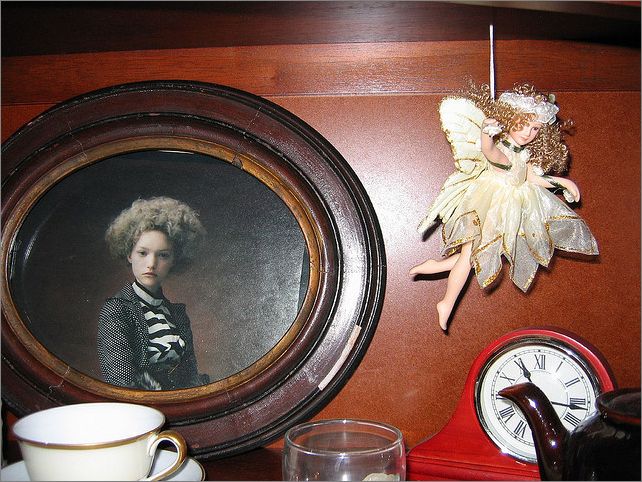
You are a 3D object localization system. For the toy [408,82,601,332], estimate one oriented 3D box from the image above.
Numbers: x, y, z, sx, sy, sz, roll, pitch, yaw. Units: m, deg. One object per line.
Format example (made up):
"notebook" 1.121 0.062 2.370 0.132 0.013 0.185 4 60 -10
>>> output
"toy" 0.312 -0.067 1.000 0.325 0.476 0.305 0 3 41
